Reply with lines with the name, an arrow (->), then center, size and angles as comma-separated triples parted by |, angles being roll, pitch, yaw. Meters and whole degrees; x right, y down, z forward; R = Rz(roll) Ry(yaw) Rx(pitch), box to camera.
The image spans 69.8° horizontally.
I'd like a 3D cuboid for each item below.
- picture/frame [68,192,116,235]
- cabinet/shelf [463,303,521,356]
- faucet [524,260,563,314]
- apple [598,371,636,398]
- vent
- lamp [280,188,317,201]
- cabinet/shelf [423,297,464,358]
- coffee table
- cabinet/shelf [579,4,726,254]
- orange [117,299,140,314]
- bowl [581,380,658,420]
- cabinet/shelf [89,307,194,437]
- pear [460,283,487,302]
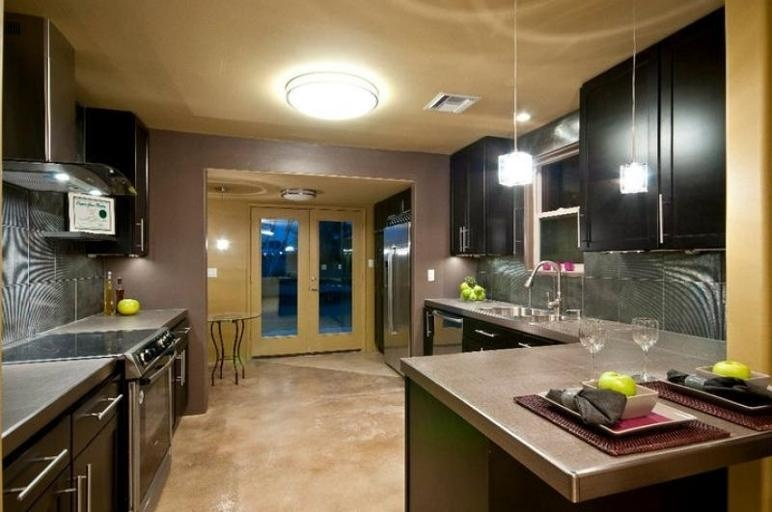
picture/frame -> -2.248, -0.324, 4.176 | 0.042, 0.271, 0.320 | -3, -4, 36
cabinet/shelf -> 0.902, 0.548, 4.521 | 0.270, 0.323, 0.460 | 0, 0, -18
faucet -> 1.308, 0.303, 4.513 | 0.339, 0.526, 0.150 | 7, 14, 44
apple -> 1.095, 0.584, 2.604 | 0.117, 0.116, 0.116 | -5, 6, -32
vent -> -2.199, -0.872, 3.695 | 0.855, 1.081, 0.931 | 1, -2, -8
lamp -> -0.973, -0.686, 6.225 | 0.433, 0.137, 0.594 | 0, 6, -10
cabinet/shelf -> 0.533, 0.704, 5.251 | 0.450, 0.609, 0.631 | 2, -2, -9
coffee table -> -1.770, 1.042, 6.218 | 0.722, 0.724, 0.810 | -1, -2, 2
cabinet/shelf -> 1.685, -0.697, 3.709 | 1.483, 1.349, 0.490 | -1, 1, -9
orange -> -2.138, 0.409, 4.592 | 0.140, 0.136, 0.128 | -2, 13, -10
bowl -> 1.150, 0.700, 2.590 | 0.217, 0.084, 0.184 | -4, -21, -15
cabinet/shelf -> -1.979, 0.914, 4.410 | 0.622, 0.869, 0.932 | 3, 2, -12
pear -> 0.856, 0.358, 5.436 | 0.224, 0.154, 0.189 | 1, 6, 1
